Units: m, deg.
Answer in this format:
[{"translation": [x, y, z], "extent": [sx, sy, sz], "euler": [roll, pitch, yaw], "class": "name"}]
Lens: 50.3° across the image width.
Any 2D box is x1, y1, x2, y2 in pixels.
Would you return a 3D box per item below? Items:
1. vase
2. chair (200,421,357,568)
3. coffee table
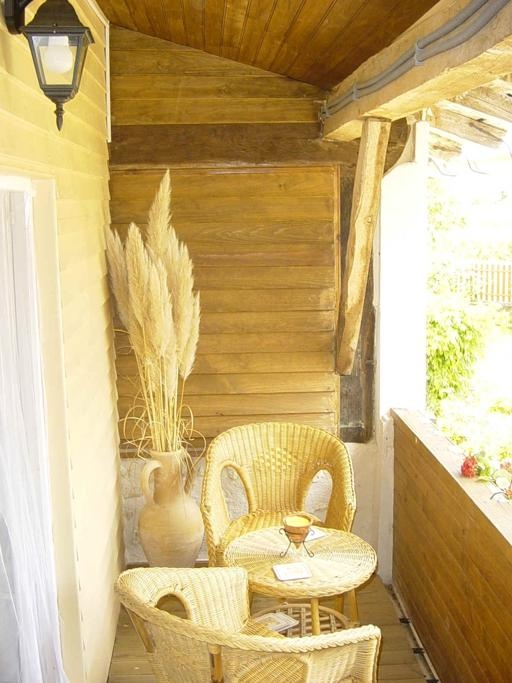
[{"translation": [-0.422, 0.865, 2.733], "extent": [0.342, 0.589, 0.330], "euler": [-6, 4, -42], "class": "vase"}, {"translation": [0.114, 0.896, 2.654], "extent": [0.727, 0.824, 0.644], "euler": [2, 8, 7], "class": "chair"}, {"translation": [0.206, 1.038, 2.172], "extent": [0.481, 0.345, 0.475], "euler": [-3, 7, 25], "class": "coffee table"}]
